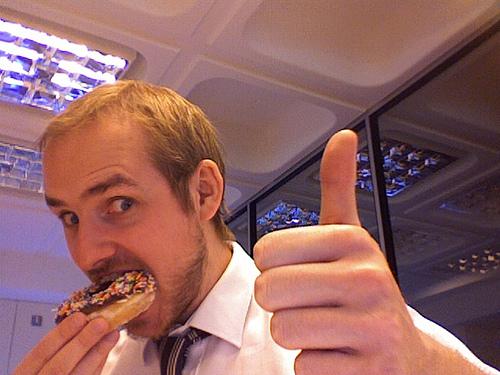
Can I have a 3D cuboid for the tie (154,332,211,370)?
[{"bbox_3d":[-0.242,0.623,1.690,0.228,0.169,0.170,1,-2,42],"label":"tie"}]
